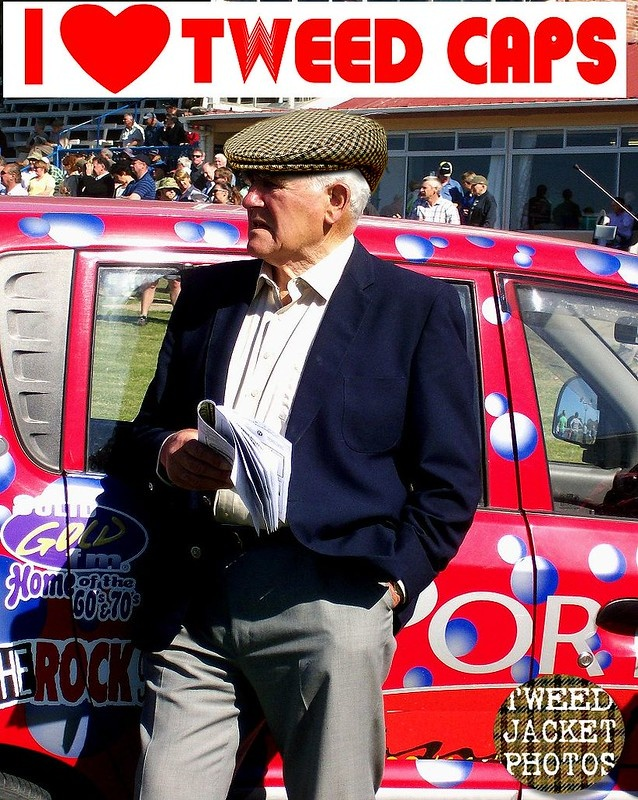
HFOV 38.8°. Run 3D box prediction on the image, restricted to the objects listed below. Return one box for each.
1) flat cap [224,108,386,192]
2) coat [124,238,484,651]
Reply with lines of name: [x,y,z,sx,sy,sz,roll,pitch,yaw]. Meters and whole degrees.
flat cap: [-0.014,-0.472,1.687,0.220,0.069,0.185,-2,14,-23]
coat: [-0.045,0.075,1.692,0.679,0.761,0.355,5,5,25]
